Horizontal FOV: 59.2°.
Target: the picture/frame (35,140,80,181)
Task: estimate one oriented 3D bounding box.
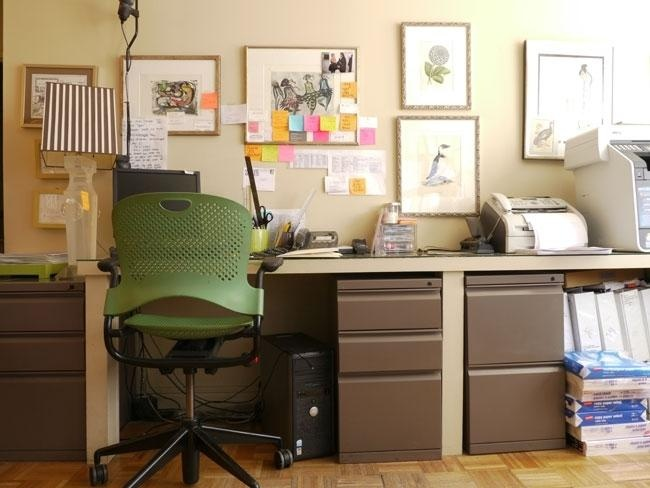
[{"bbox_3d":[-1.480,-0.474,3.197,0.244,0.278,0.020,-1,2,-4],"label":"picture/frame"}]

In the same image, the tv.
[{"bbox_3d":[-0.935,-0.268,3.230,0.487,0.298,0.035,-3,7,-34],"label":"tv"}]

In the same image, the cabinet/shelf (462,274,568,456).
[{"bbox_3d":[0.951,0.610,3.218,0.594,0.954,0.679,-2,2,5],"label":"cabinet/shelf"}]

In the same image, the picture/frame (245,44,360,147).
[{"bbox_3d":[-0.162,-0.889,3.387,0.566,0.514,0.025,0,1,-5],"label":"picture/frame"}]

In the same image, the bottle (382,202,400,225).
[{"bbox_3d":[0.377,-0.174,3.284,0.085,0.110,0.114,0,15,0],"label":"bottle"}]

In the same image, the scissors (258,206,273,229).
[{"bbox_3d":[-0.350,-0.152,3.321,0.025,0.110,0.107,13,17,25],"label":"scissors"}]

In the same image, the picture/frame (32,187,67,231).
[{"bbox_3d":[-1.588,-0.202,3.325,0.241,0.281,0.027,0,5,2],"label":"picture/frame"}]

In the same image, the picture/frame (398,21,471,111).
[{"bbox_3d":[0.631,-1.082,3.422,0.495,0.599,0.027,0,-1,-5],"label":"picture/frame"}]

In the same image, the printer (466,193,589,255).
[{"bbox_3d":[1.096,-0.142,3.304,0.580,0.298,0.595,-4,10,-6],"label":"printer"}]

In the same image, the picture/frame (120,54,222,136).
[{"bbox_3d":[-0.904,-0.890,3.366,0.446,0.398,0.045,0,5,3],"label":"picture/frame"}]

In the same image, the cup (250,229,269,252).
[{"bbox_3d":[-0.365,-0.012,3.189,0.105,0.116,0.107,0,1,0],"label":"cup"}]

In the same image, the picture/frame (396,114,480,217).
[{"bbox_3d":[0.652,-0.483,3.438,0.570,0.697,0.032,-1,5,-3],"label":"picture/frame"}]

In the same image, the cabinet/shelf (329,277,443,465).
[{"bbox_3d":[0.273,0.650,3.112,0.693,1.249,0.797,-1,-4,-1],"label":"cabinet/shelf"}]
